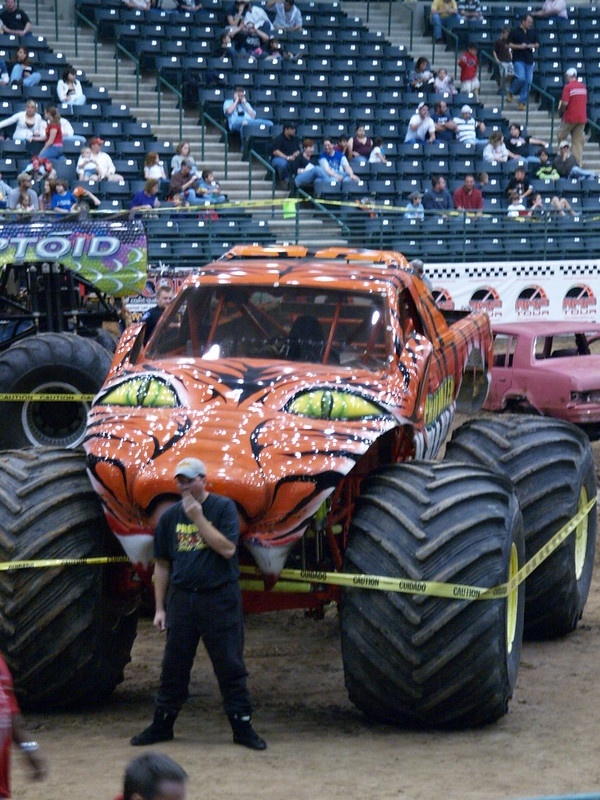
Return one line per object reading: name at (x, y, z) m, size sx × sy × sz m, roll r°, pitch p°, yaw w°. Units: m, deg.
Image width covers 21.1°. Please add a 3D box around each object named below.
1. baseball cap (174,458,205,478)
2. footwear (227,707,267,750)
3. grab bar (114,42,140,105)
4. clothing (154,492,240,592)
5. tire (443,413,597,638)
baseball cap at (-0.513, 0.308, 7.606) m, size 0.137 × 0.078 × 0.208 m, roll 1°, pitch 11°, yaw -4°
footwear at (-0.258, 1.577, 7.811) m, size 0.232 × 0.234 × 0.112 m, roll 4°, pitch 11°, yaw 13°
grab bar at (-2.639, -4.950, 24.661) m, size 0.391 × 0.979 × 0.079 m, roll 1°, pitch 27°, yaw -9°
clothing at (-0.475, 0.669, 7.679) m, size 0.435 × 0.510 × 0.272 m, roll -3°, pitch 0°, yaw 17°
tire at (1.203, 0.680, 8.861) m, size 0.377 × 0.967 × 0.952 m, roll -6°, pitch -33°, yaw 18°
